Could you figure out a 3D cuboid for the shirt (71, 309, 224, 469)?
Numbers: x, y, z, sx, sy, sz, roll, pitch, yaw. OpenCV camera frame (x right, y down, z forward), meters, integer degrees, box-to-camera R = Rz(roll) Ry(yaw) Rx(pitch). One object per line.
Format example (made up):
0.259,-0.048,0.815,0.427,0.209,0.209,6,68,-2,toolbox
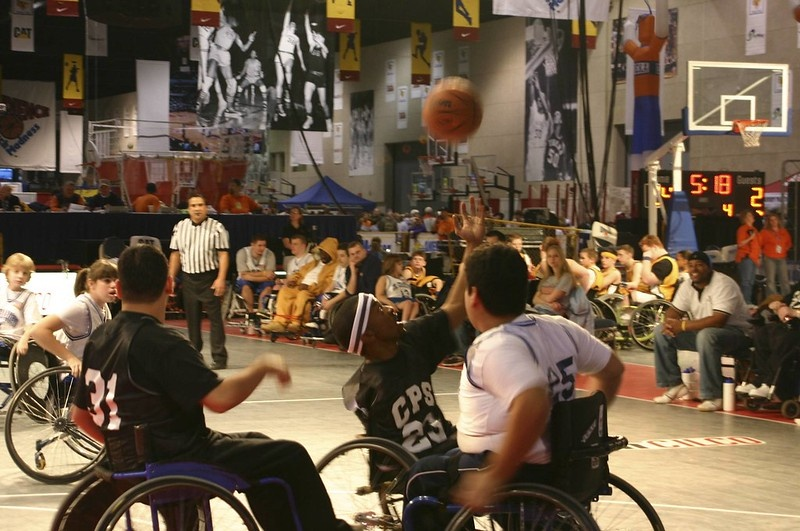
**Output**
-2.155,1.061,7.241,1.724,1.269,0.954,-3,7,43,shirt

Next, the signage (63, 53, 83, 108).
-11.939,-6.741,31.966,0.725,1.832,0.503,3,2,-28,signage

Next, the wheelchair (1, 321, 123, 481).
-3.924,1.438,10.073,1.936,1.625,1.195,4,-1,-16,wheelchair

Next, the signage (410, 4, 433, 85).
0.667,-6.750,27.880,0.641,1.450,0.730,3,1,-2,signage

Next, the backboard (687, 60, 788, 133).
8.641,-4.309,22.416,2.974,1.969,0.186,1,5,2,backboard
